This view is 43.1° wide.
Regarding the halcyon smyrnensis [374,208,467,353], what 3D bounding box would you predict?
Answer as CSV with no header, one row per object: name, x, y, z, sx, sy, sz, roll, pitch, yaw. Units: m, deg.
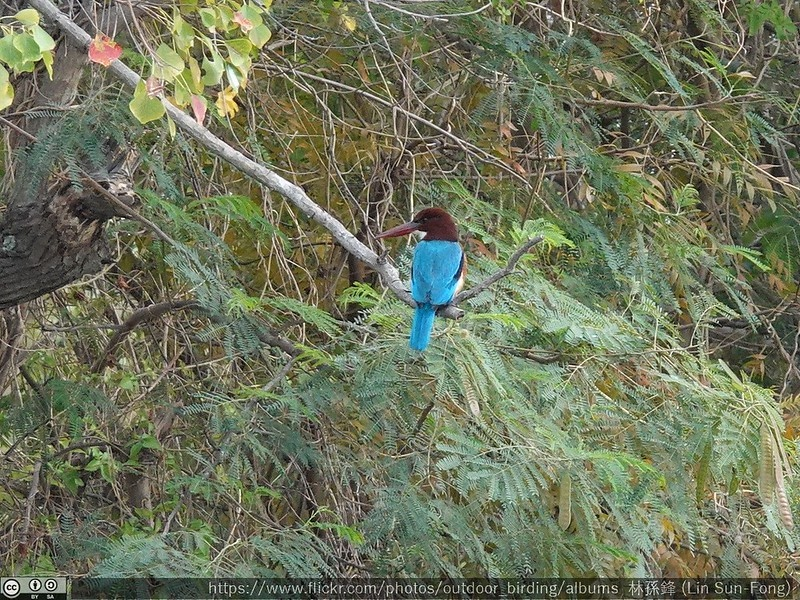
halcyon smyrnensis,0.144,-0.170,5.275,0.293,0.401,0.927,-10,46,21
